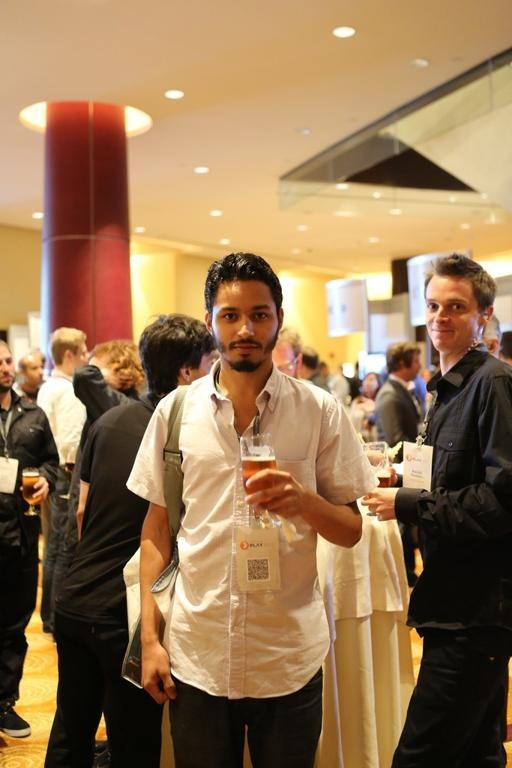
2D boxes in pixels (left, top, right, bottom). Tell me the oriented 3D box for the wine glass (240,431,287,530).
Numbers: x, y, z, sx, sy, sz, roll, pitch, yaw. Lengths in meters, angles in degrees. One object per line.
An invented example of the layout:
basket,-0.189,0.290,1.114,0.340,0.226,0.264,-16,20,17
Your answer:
wine glass,0.009,0.167,1.059,0.063,0.169,0.174,-1,2,2
